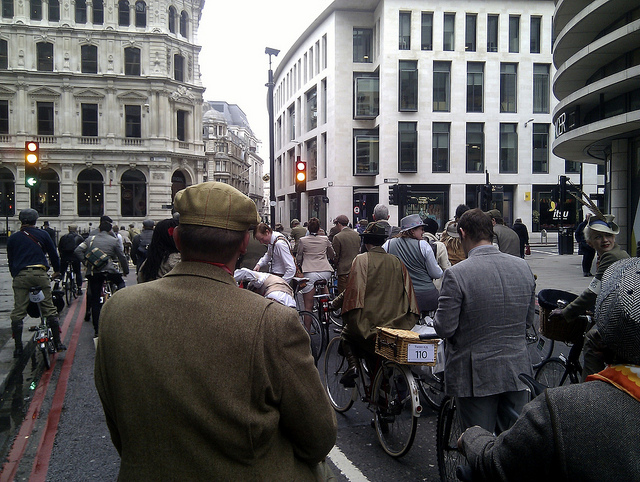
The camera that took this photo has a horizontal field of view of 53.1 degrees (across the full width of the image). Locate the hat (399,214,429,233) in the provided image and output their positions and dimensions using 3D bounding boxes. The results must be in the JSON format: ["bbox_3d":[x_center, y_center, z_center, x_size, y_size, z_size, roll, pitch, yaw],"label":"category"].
[{"bbox_3d":[1.124,-0.201,7.943,0.213,0.095,0.199,-20,1,21],"label":"hat"}]

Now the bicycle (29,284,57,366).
[{"bbox_3d":[-3.976,1.202,9.143,0.339,1.147,0.775,-2,5,-21],"label":"bicycle"}]

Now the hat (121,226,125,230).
[{"bbox_3d":[-12.586,-0.844,40.642,0.240,0.208,0.239,3,-1,-36],"label":"hat"}]

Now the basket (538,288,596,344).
[{"bbox_3d":[2.582,0.782,6.760,0.625,0.481,0.636,11,10,35],"label":"basket"}]

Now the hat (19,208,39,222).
[{"bbox_3d":[-4.286,-0.373,9.372,0.221,0.193,0.291,-3,6,-23],"label":"hat"}]

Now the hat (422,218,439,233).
[{"bbox_3d":[1.840,-0.243,10.556,0.223,0.313,0.316,0,15,2],"label":"hat"}]

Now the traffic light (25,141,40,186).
[{"bbox_3d":[-7.076,-1.896,15.654,0.289,1.080,0.590,-3,6,-25],"label":"traffic light"}]

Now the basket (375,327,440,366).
[{"bbox_3d":[0.834,1.026,6.265,0.441,0.311,0.675,5,0,-15],"label":"basket"}]

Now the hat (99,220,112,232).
[{"bbox_3d":[-3.830,-0.273,11.422,0.153,0.178,0.207,0,17,-6],"label":"hat"}]

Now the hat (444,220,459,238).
[{"bbox_3d":[2.122,-0.199,10.231,0.292,0.177,0.464,-6,13,7],"label":"hat"}]

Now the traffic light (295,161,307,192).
[{"bbox_3d":[-0.542,-1.809,17.955,0.256,0.796,0.647,0,5,2],"label":"traffic light"}]

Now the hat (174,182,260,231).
[{"bbox_3d":[-0.645,-0.209,3.961,0.383,0.181,0.312,13,15,20],"label":"hat"}]

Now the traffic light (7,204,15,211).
[{"bbox_3d":[-19.454,-2.073,40.067,0.480,0.513,0.121,4,-6,-5],"label":"traffic light"}]

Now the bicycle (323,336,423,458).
[{"bbox_3d":[0.753,1.592,6.858,0.644,0.951,1.449,1,9,-28],"label":"bicycle"}]

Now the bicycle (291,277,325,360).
[{"bbox_3d":[-0.199,1.114,10.116,0.453,1.080,1.883,-1,5,-5],"label":"bicycle"}]

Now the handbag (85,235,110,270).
[{"bbox_3d":[-3.790,0.262,10.840,0.271,0.431,0.446,-39,-3,-7],"label":"handbag"}]

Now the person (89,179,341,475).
[{"bbox_3d":[-0.654,0.530,3.874,1.422,1.758,0.474,-1,5,-10],"label":"person"}]

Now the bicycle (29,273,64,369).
[{"bbox_3d":[-3.970,1.324,9.190,0.392,0.871,0.838,-2,5,-18],"label":"bicycle"}]
